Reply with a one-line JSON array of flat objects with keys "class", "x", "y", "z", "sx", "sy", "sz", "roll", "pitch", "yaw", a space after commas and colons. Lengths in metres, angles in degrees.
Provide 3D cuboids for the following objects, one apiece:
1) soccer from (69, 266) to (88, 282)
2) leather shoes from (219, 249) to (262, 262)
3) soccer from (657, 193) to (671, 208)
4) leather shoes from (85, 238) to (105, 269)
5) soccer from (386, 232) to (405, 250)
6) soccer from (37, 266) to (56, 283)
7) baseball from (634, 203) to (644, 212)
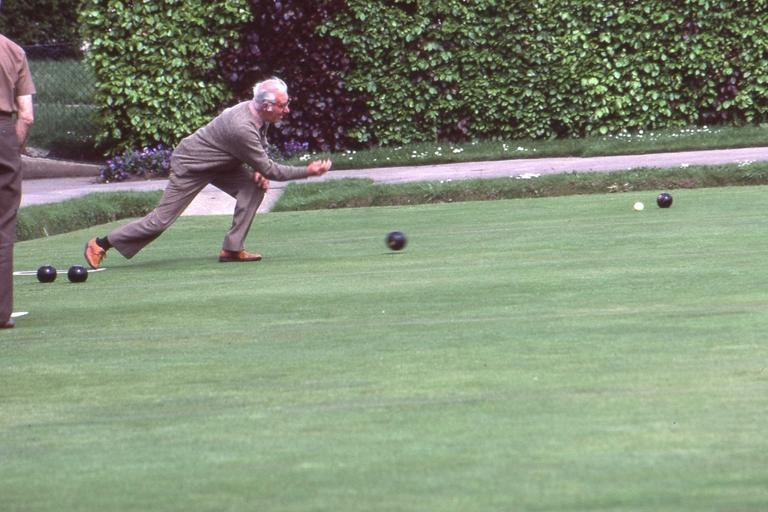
[{"class": "soccer", "x": -2.328, "y": 0.124, "z": 8.667, "sx": 0.137, "sy": 0.117, "sz": 0.177, "roll": -2, "pitch": 9, "yaw": -18}, {"class": "leather shoes", "x": -1.175, "y": -0.016, "z": 9.564, "sx": 0.368, "sy": 0.125, "sz": 0.123, "roll": -1, "pitch": 4, "yaw": 0}, {"class": "soccer", "x": 2.814, "y": -0.565, "z": 11.299, "sx": 0.127, "sy": 0.142, "sz": 0.299, "roll": 4, "pitch": 9, "yaw": 17}, {"class": "leather shoes", "x": -2.343, "y": -0.023, "z": 9.293, "sx": 0.159, "sy": 0.289, "sz": 0.116, "roll": -8, "pitch": -7, "yaw": 0}, {"class": "soccer", "x": 0.119, "y": -0.133, "z": 9.467, "sx": 0.156, "sy": 0.156, "sz": 0.205, "roll": 0, "pitch": 9, "yaw": -3}, {"class": "soccer", "x": -2.573, "y": 0.121, "z": 8.708, "sx": 0.139, "sy": 0.115, "sz": 0.207, "roll": -2, "pitch": 9, "yaw": -15}, {"class": "baseball", "x": 2.533, "y": -0.485, "z": 11.207, "sx": 0.096, "sy": 0.045, "sz": 0.089, "roll": 2, "pitch": 19, "yaw": 10}]
